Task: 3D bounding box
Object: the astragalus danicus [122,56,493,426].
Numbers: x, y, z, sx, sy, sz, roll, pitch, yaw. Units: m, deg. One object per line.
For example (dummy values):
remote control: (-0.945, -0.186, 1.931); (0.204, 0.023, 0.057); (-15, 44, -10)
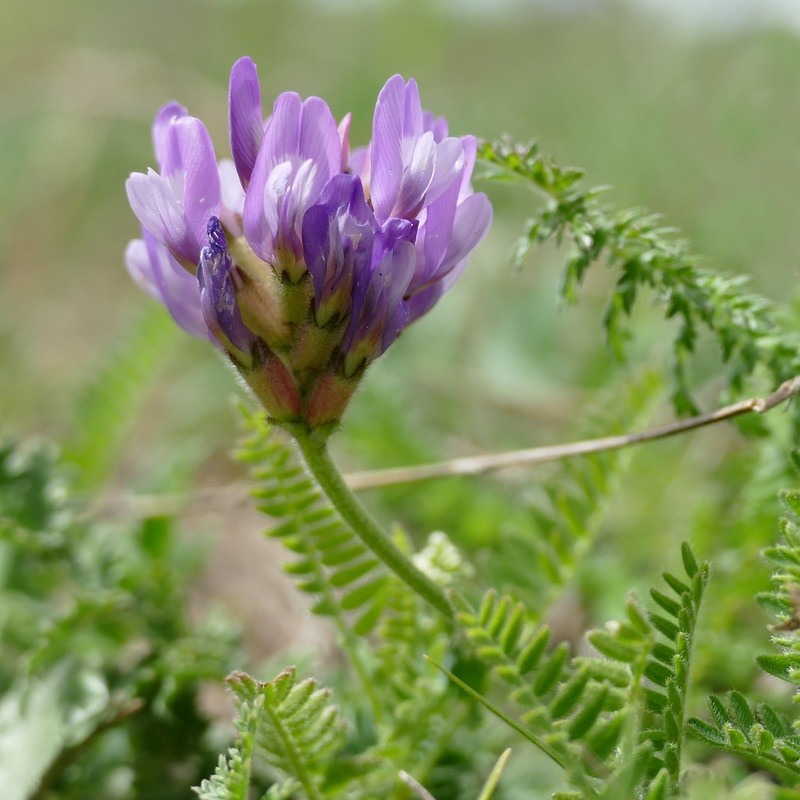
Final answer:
astragalus danicus: (-0.075, -0.146, 0.845); (0.239, 0.235, 0.244); (-22, 36, -29)
